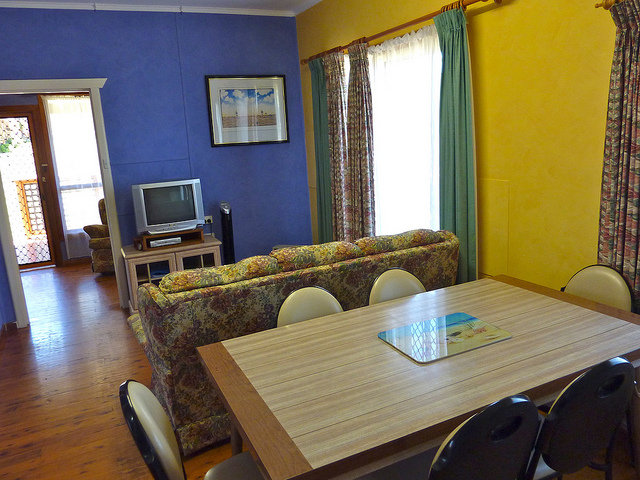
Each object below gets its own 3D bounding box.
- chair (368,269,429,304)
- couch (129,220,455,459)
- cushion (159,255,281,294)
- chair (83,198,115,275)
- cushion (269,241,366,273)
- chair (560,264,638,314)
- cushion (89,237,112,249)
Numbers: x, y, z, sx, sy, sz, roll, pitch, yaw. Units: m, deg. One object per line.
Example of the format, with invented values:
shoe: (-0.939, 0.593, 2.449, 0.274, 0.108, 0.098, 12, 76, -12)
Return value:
chair: (0.526, 0.246, 3.326, 0.269, 0.346, 0.249, -6, 2, -24)
couch: (-0.106, 0.564, 3.877, 2.290, 1.243, 1.075, -11, 16, -18)
cushion: (-0.603, 0.218, 3.275, 0.929, 0.144, 0.312, -10, 21, -37)
chair: (-3.069, -0.005, 6.959, 0.419, 1.126, 0.540, -2, 12, -16)
cushion: (-0.069, 0.079, 3.445, 0.413, 0.094, 0.218, -7, 19, -25)
chair: (1.719, 0.263, 3.094, 0.374, 0.330, 0.374, 0, 12, -16)
cushion: (-3.040, 0.052, 6.863, 0.310, 0.156, 0.182, -6, 10, -1)
